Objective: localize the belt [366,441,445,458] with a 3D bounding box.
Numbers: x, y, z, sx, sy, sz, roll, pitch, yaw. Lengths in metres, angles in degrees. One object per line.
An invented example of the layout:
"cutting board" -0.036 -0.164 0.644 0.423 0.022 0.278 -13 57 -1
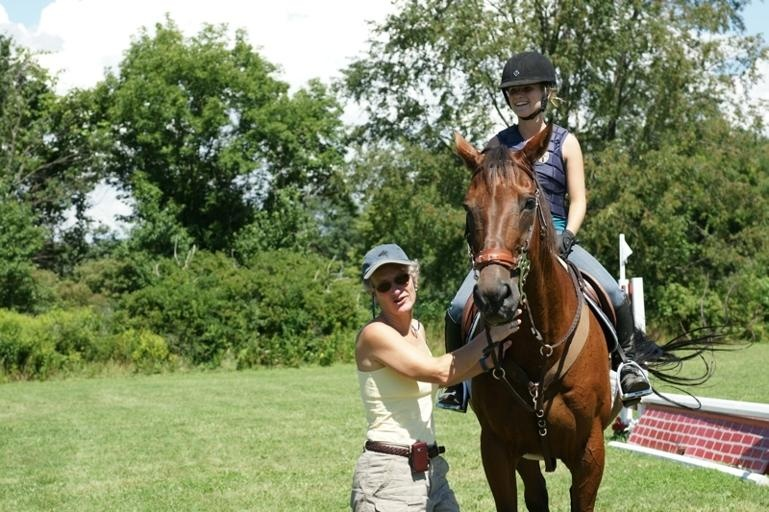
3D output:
"belt" 0.329 3.263 12.569 1.316 0.338 0.238 -2 6 -7

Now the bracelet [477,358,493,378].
"bracelet" 1.737 1.874 12.694 0.135 0.347 0.237 23 -7 -36

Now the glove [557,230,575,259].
"glove" 3.182 -0.188 13.051 0.308 0.455 0.459 1 -15 7
